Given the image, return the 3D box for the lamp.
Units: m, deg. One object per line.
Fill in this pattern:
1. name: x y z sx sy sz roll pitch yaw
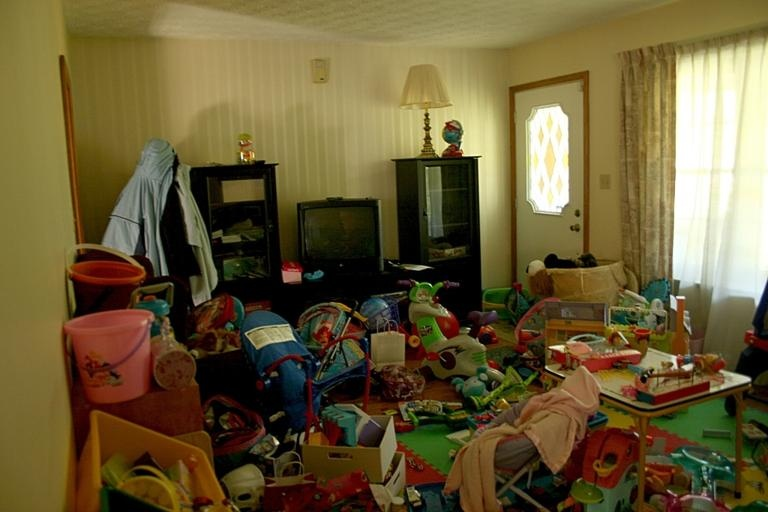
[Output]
1. lamp: 0.433 -1.494 5.774 0.488 0.922 0.472 -2 10 7

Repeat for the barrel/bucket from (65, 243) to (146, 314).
1. barrel/bucket: -1.388 0.118 2.762 0.321 0.271 0.317 2 9 0

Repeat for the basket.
1. basket: 1.898 0.227 5.121 0.461 0.260 0.585 1 4 35

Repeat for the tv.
1. tv: -0.420 -0.188 5.336 0.783 0.718 0.112 -4 10 -5

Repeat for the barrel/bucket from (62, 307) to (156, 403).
1. barrel/bucket: -1.138 0.380 2.419 0.375 0.314 0.359 -1 6 0

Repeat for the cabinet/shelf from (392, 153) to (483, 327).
1. cabinet/shelf: 0.599 -0.208 5.915 0.844 1.668 0.417 -5 7 -27

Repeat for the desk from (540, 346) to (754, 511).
1. desk: 1.512 0.722 3.169 0.832 0.589 1.039 -5 8 -26

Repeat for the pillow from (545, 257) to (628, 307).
1. pillow: 1.884 0.234 5.088 0.458 0.266 0.595 0 3 14
